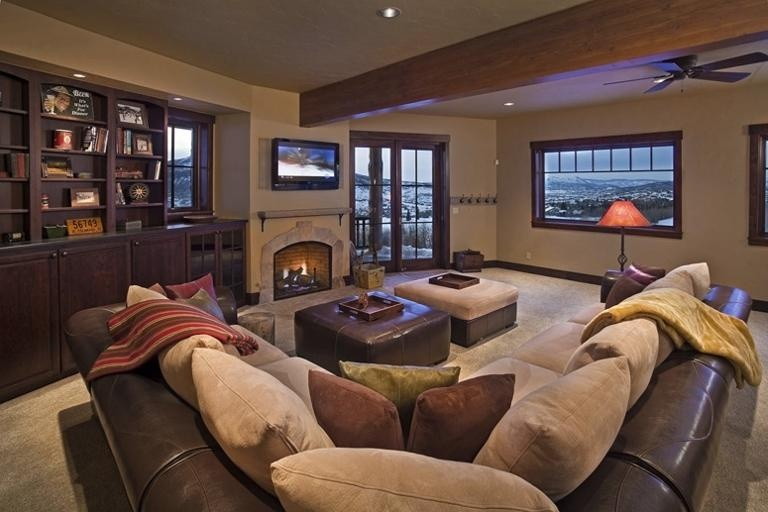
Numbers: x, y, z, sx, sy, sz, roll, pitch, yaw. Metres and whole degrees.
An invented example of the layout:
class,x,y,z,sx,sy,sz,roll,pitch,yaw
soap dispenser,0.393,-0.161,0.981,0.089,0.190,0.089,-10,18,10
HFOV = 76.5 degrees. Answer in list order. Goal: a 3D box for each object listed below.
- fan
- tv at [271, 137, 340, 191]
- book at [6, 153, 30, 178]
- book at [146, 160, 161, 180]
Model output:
class,x,y,z,sx,sy,sz,roll,pitch,yaw
fan,3.183,-1.856,4.866,0.897,0.268,1.032,3,7,26
tv,-1.153,-1.301,6.868,0.088,0.553,0.868,11,12,44
book,-3.378,-0.832,4.471,0.257,0.225,0.084,2,4,41
book,-2.636,-0.984,5.590,0.051,0.208,0.217,10,8,20
